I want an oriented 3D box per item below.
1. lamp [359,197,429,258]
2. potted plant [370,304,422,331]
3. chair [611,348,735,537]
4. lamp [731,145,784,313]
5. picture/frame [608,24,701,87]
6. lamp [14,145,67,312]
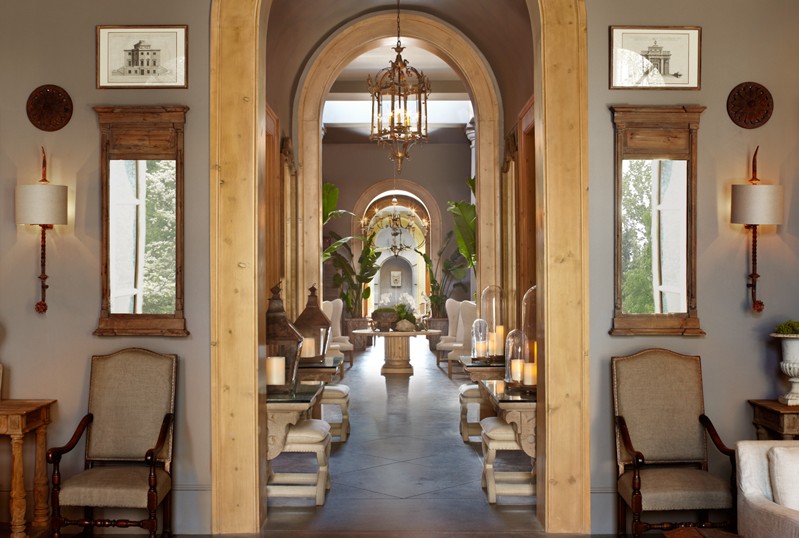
[{"bbox_3d":[-0.146,-1.388,21.129,1.889,1.935,1.340,0,-3,-5],"label":"lamp"},{"bbox_3d":[-0.060,0.751,11.969,0.738,0.415,0.635,0,-2,-3],"label":"potted plant"},{"bbox_3d":[2.033,1.302,5.667,0.852,1.412,0.572,0,-2,5],"label":"chair"},{"bbox_3d":[2.755,-0.313,5.863,0.419,1.304,0.241,0,-3,6],"label":"lamp"},{"bbox_3d":[1.932,-1.648,5.882,0.482,0.352,0.019,1,-2,-4],"label":"picture/frame"},{"bbox_3d":[-2.722,-0.303,5.820,0.369,1.278,0.234,0,-3,-9],"label":"lamp"}]
